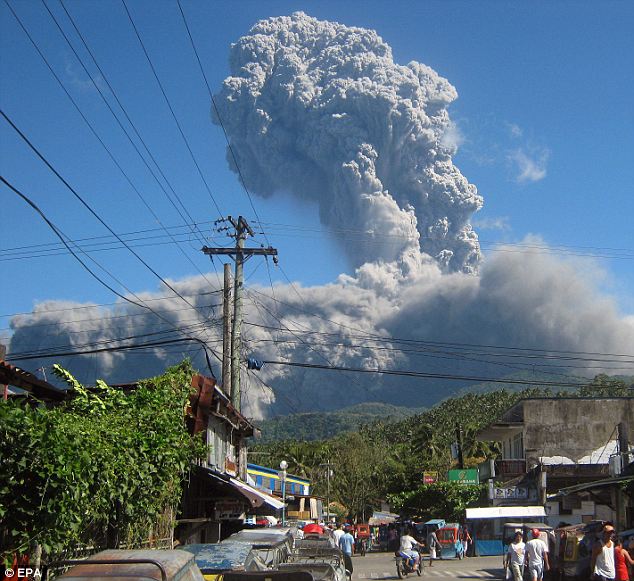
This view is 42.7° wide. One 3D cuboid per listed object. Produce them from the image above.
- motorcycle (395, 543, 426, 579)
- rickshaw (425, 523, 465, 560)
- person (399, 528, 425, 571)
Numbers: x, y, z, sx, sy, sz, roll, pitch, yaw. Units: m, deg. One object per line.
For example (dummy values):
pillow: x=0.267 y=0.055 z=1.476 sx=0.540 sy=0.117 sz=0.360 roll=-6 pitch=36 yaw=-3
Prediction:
motorcycle: x=2.675 y=8.258 z=24.531 sx=0.547 sy=0.876 sz=1.301 roll=-7 pitch=-14 yaw=31
rickshaw: x=5.881 y=11.097 z=36.387 sx=1.241 sy=1.870 sz=1.803 roll=-6 pitch=-9 yaw=19
person: x=2.824 y=7.954 z=24.789 sx=0.684 sy=1.077 sz=1.471 roll=-7 pitch=-13 yaw=23
